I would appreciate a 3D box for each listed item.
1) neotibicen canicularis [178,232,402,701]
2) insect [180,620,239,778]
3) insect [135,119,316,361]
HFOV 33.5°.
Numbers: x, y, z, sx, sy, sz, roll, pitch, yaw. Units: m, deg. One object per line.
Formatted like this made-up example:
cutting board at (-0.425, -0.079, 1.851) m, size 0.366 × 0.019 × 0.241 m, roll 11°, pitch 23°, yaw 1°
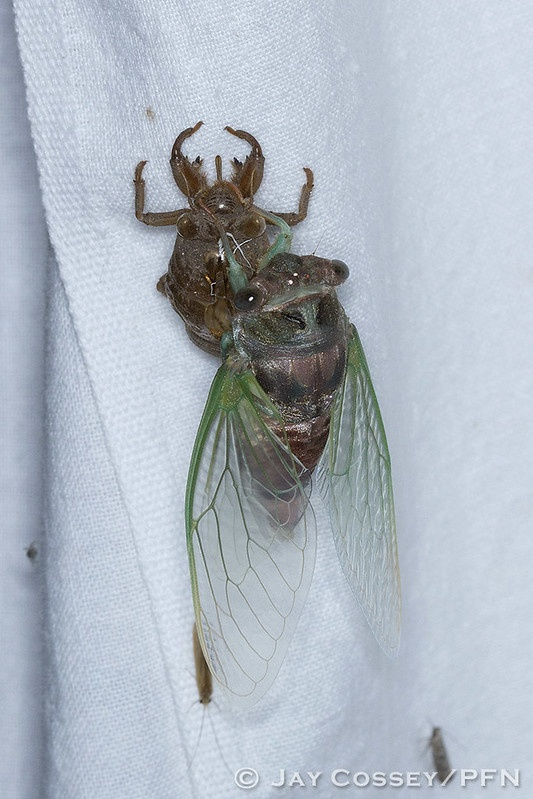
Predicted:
neotibicen canicularis at (0.036, 0.096, 1.230) m, size 0.287 × 0.576 × 0.383 m, roll -1°, pitch 32°, yaw 7°
insect at (-0.094, 0.423, 1.252) m, size 0.099 × 0.166 × 0.041 m, roll -2°, pitch 11°, yaw -2°
insect at (-0.091, -0.218, 1.319) m, size 0.270 × 0.305 × 0.098 m, roll 0°, pitch -3°, yaw -3°
